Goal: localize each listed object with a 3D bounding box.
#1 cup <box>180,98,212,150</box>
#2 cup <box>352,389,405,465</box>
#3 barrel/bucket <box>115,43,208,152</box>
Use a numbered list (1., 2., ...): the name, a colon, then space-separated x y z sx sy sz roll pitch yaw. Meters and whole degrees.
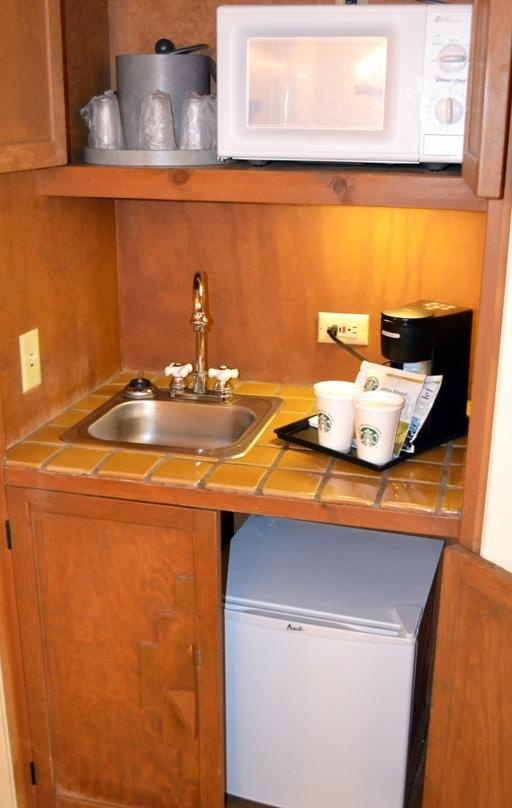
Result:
1. cup: -0.115 -0.543 1.224 0.063 0.099 0.045 0 13 -6
2. cup: 0.210 0.038 1.191 0.101 0.135 0.108 0 18 0
3. barrel/bucket: -0.190 -0.643 1.332 0.188 0.235 0.164 9 25 10
